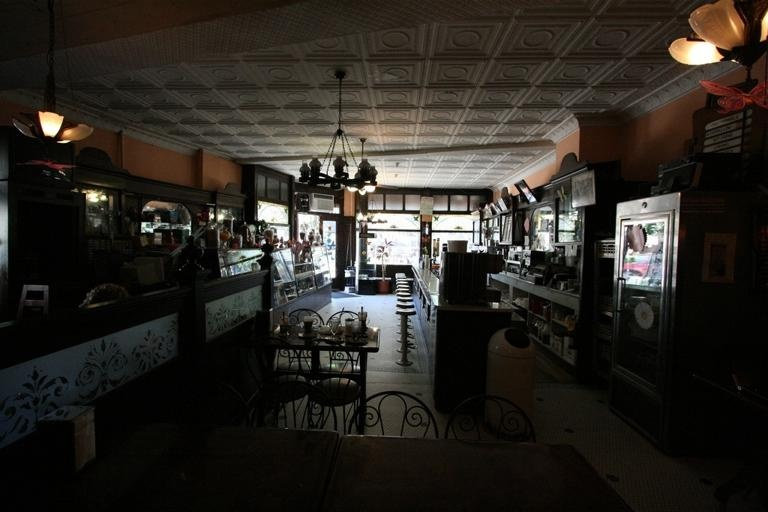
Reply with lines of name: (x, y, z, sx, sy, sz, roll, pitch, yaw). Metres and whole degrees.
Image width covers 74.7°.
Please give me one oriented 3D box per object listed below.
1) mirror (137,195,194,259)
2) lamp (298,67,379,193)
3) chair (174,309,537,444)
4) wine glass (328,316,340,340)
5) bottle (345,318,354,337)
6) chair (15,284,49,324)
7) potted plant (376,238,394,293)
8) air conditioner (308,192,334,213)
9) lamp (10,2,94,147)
mirror: (-3.619, -0.568, 8.336, 0.838, 0.738, 2.689, 0, 4, -22)
lamp: (-0.717, -1.861, 8.500, 1.561, 2.036, 1.463, 0, -6, -1)
chair: (-0.787, 1.753, 6.535, 3.503, 1.495, 0.850, 3, -8, -5)
wine glass: (-0.599, 0.924, 6.367, 0.185, 0.292, 0.179, 5, -8, -27)
bottle: (-0.432, 0.883, 6.239, 0.160, 0.224, 0.162, 2, 3, 0)
chair: (-3.582, 0.416, 5.116, 0.225, 0.322, 2.033, -1, 5, -35)
potted plant: (0.002, 0.287, 14.617, 0.470, 1.476, 0.853, 2, 4, -1)
air conditioner: (-1.725, -1.413, 13.592, 0.439, 0.523, 0.797, -2, -3, 25)
lamp: (-3.743, -2.032, 5.670, 0.702, 1.604, 1.413, -1, 4, -36)
